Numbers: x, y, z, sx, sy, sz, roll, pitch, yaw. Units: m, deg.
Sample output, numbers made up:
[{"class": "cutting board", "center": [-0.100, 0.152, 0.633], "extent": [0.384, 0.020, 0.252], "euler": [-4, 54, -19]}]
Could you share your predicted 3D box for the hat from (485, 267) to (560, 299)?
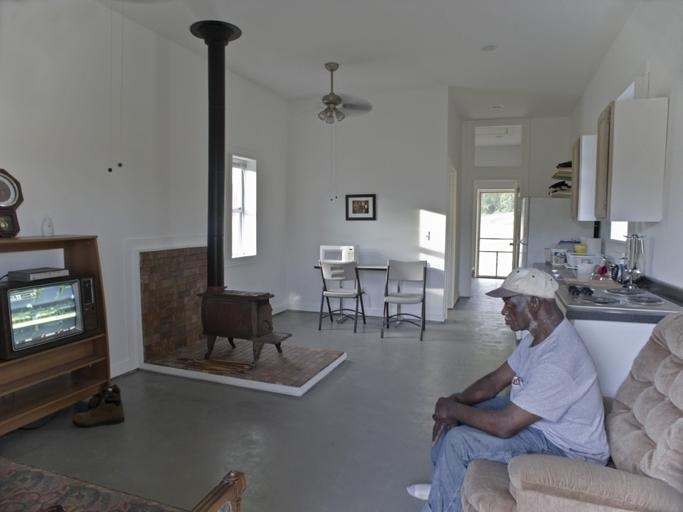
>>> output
[{"class": "hat", "center": [1.024, 0.149, 2.655], "extent": [0.258, 0.125, 0.185], "euler": [3, 0, 21]}]

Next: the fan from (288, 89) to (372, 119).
[{"class": "fan", "center": [-0.117, -2.133, 6.610], "extent": [0.708, 0.252, 0.713], "euler": [1, 2, -8]}]

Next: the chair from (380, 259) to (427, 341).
[{"class": "chair", "center": [0.850, 0.497, 6.527], "extent": [0.768, 1.377, 0.941], "euler": [1, 2, 17]}]

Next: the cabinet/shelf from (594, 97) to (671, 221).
[{"class": "cabinet/shelf", "center": [2.366, -0.777, 3.831], "extent": [0.432, 0.960, 0.152], "euler": [2, 10, 8]}]

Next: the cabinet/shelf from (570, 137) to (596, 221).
[{"class": "cabinet/shelf", "center": [2.392, -0.767, 4.717], "extent": [0.238, 0.837, 0.652], "euler": [5, 10, 25]}]

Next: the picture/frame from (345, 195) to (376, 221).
[{"class": "picture/frame", "center": [0.294, -0.734, 6.997], "extent": [0.383, 0.325, 0.031], "euler": [1, 1, 24]}]
